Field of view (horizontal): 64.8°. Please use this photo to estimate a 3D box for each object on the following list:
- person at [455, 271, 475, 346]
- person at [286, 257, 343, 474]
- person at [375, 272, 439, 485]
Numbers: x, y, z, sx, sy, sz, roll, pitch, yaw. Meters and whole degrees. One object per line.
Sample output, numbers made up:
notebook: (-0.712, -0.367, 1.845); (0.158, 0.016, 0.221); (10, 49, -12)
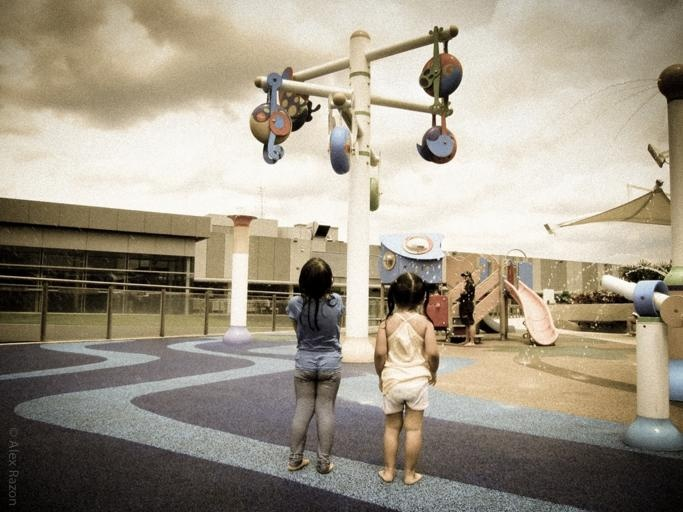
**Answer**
person: (3.342, 1.359, 14.187); (0.428, 1.908, 0.959); (2, 0, 14)
person: (-0.252, 1.022, 5.095); (0.503, 1.942, 0.326); (2, 0, -5)
person: (0.605, 1.103, 5.019); (0.577, 1.930, 0.406); (2, 0, 5)
